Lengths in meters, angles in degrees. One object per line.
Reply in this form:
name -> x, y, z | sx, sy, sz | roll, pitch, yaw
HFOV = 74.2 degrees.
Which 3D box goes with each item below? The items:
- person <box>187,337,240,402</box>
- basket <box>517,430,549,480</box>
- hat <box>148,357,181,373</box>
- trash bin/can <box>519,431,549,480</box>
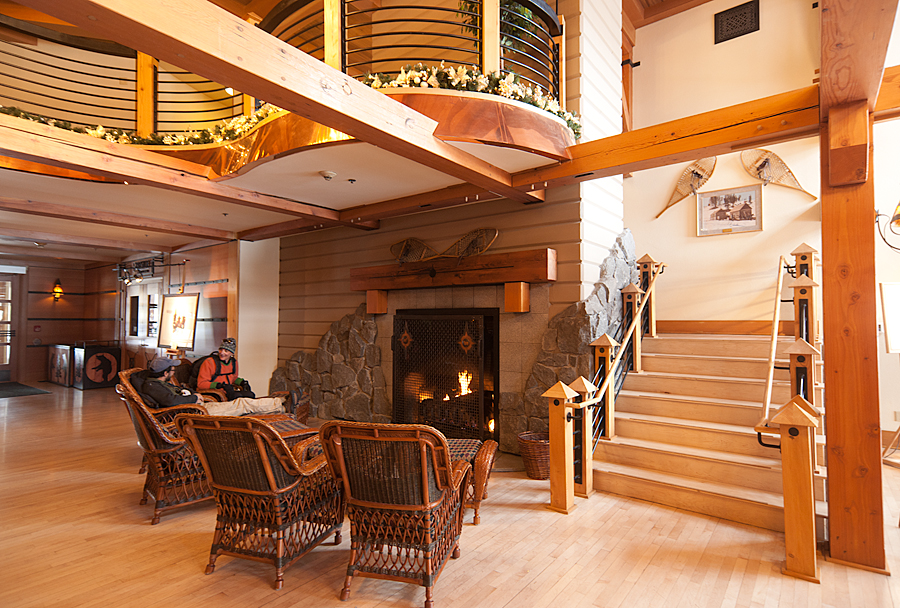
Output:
person -> -3.421, 1.066, 8.682 | 0.651, 0.966, 0.639 | 4, 2, -18
basket -> 1.000, 1.820, 6.924 | 0.492, 0.334, 0.480 | -1, -7, 16
hat -> -3.286, 0.740, 6.850 | 0.193, 0.109, 0.293 | 23, 17, 30
trash bin/can -> 1.071, 1.837, 6.949 | 0.490, 0.334, 0.477 | -1, -7, 14
